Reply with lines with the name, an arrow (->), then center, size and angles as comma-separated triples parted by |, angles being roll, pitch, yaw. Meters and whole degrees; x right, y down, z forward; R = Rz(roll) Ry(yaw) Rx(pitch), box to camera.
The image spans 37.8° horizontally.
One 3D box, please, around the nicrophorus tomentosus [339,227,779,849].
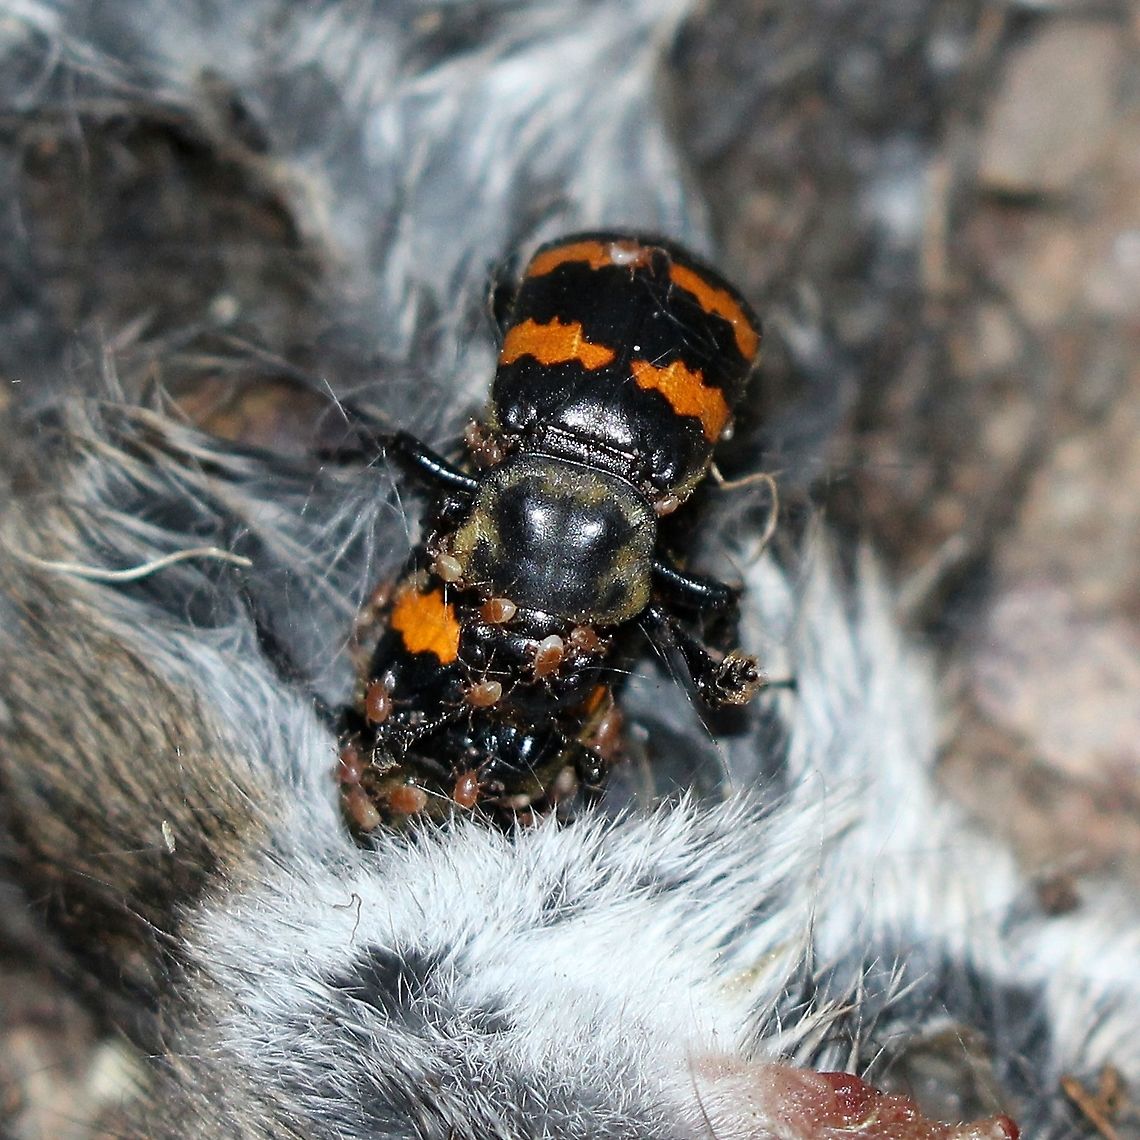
nicrophorus tomentosus -> -0.018, -0.090, 3.972 | 0.858, 0.386, 1.364 | 20, 96, -1
